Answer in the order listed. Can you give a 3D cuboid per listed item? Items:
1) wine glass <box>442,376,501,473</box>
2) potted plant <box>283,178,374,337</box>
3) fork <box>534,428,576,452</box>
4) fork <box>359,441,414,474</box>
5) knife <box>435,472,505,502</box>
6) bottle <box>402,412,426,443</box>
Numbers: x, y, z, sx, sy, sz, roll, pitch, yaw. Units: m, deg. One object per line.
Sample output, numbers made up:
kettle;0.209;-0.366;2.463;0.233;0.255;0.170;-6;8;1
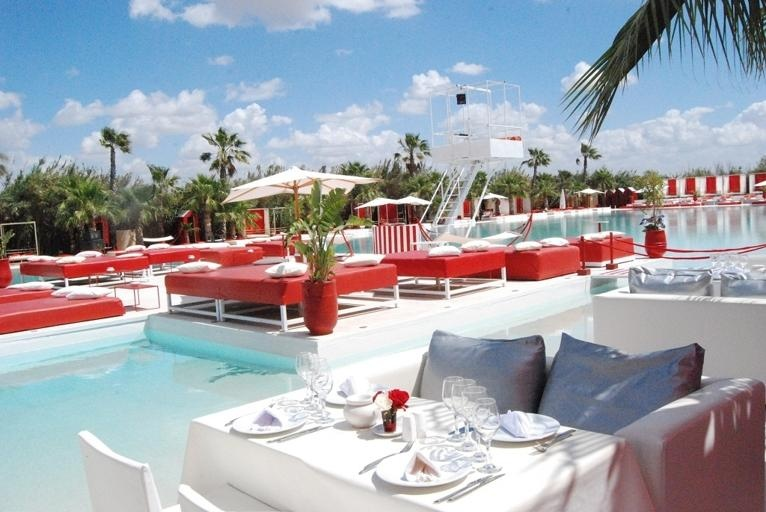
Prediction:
wine glass;0.358;0.711;1.976;0.106;0.221;0.314;-1;-1;-17
potted plant;-0.766;0.030;5.932;1.188;1.805;0.816;-2;5;-37
fork;0.737;0.782;2.038;0.065;0.038;0.275;7;7;38
fork;0.017;0.831;1.963;0.280;0.033;0.031;-16;7;-43
knife;0.320;0.846;1.748;0.305;0.016;0.083;-13;7;-38
bottle;0.139;0.760;2.173;0.111;0.126;0.115;-1;2;-5
